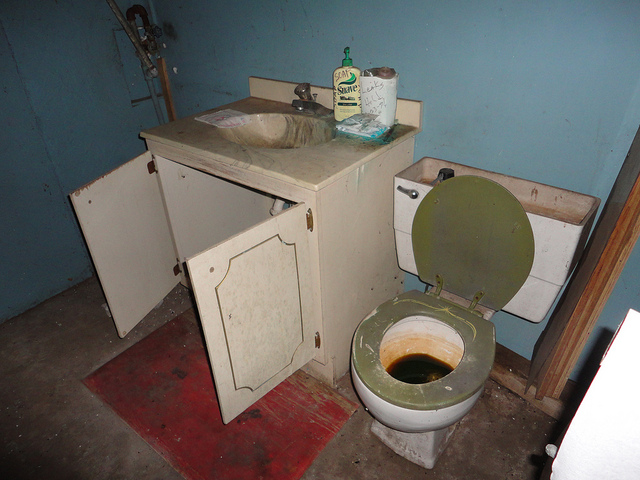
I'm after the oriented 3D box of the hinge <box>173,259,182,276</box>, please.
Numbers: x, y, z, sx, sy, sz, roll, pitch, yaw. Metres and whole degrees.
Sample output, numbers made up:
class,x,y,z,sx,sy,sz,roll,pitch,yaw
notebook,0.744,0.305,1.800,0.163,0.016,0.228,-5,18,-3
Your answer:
class,x,y,z,sx,sy,sz,roll,pitch,yaw
hinge,-0.704,0.148,2.502,0.021,0.072,0.041,22,37,32

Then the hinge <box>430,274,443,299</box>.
class,x,y,z,sx,sy,sz,roll,pitch,yaw
hinge,0.447,0.179,1.955,0.044,0.108,0.022,30,54,34

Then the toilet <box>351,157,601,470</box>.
class,x,y,z,sx,sy,sz,roll,pitch,yaw
toilet,0.463,0.312,1.892,0.681,1.026,0.920,21,40,29

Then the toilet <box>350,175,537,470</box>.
class,x,y,z,sx,sy,sz,roll,pitch,yaw
toilet,0.384,0.215,1.731,0.462,0.728,0.560,22,37,31

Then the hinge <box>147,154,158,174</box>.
class,x,y,z,sx,sy,sz,roll,pitch,yaw
hinge,-0.722,-0.311,2.193,0.014,0.056,0.057,5,26,26

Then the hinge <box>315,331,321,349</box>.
class,x,y,z,sx,sy,sz,roll,pitch,yaw
hinge,-0.011,0.403,2.050,0.023,0.082,0.009,0,31,-1
